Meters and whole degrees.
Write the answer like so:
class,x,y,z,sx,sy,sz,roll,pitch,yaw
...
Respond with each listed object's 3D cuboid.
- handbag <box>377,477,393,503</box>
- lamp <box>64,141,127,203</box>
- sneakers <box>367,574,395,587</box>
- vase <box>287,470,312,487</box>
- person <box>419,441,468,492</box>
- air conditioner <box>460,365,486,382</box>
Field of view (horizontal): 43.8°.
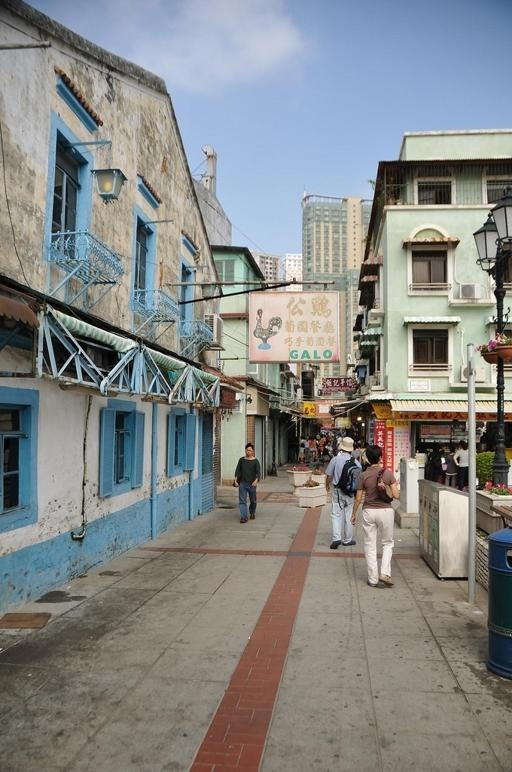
class,x,y,z,sx,sy,sz,roll,pitch,yaw
handbag,1.480,1.207,7.257,0.181,0.293,0.211,0,-3,-3
lamp,-2.043,-2.893,8.280,0.620,0.948,0.837,-1,-4,9
sneakers,1.421,2.252,7.369,0.336,0.140,0.231,-4,-5,40
vase,1.312,2.770,19.245,0.560,0.714,0.762,-2,-2,12
person,4.870,2.069,16.390,0.474,1.651,1.114,10,-12,-12
air conditioner,5.262,-0.304,15.458,0.470,0.410,0.275,0,-23,2
